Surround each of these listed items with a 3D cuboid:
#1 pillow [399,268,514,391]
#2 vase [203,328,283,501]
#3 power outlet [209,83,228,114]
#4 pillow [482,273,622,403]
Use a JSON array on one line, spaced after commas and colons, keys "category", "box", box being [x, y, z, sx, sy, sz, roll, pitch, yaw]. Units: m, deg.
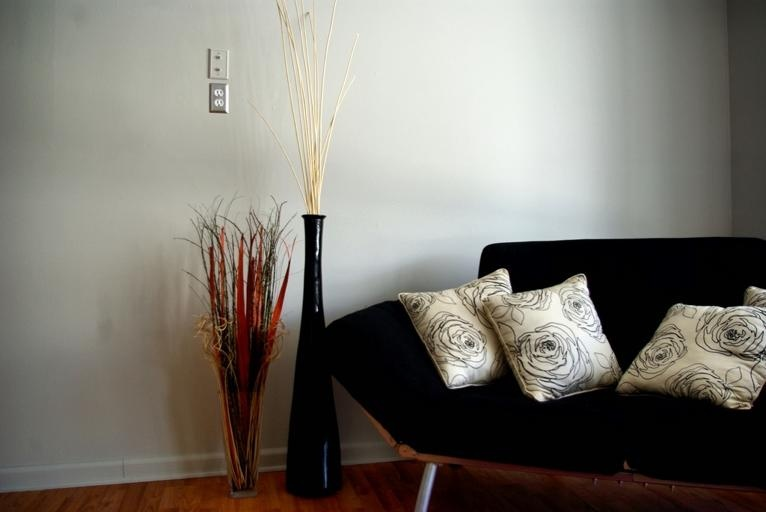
[{"category": "pillow", "box": [0.304, 0.348, 2.404, 0.397, 0.403, 0.126, -10, -26, -36]}, {"category": "vase", "box": [-0.620, 0.689, 2.512, 0.283, 0.705, 0.202, -4, 13, -7]}, {"category": "power outlet", "box": [-0.782, -0.758, 2.706, 0.092, 0.144, 0.033, -3, 13, -6]}, {"category": "pillow", "box": [0.671, 0.352, 2.300, 0.454, 0.457, 0.150, -12, -19, -25]}]
